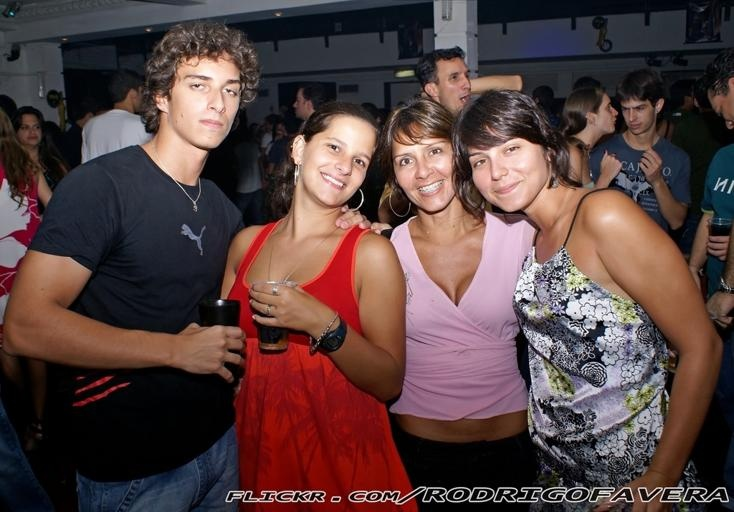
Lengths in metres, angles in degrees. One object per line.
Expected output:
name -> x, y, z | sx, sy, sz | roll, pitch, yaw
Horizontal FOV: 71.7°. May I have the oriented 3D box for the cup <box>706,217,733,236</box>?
cup -> 2.232, -0.188, 3.237 | 0.118, 0.098, 0.115 | -1, 0, 0
